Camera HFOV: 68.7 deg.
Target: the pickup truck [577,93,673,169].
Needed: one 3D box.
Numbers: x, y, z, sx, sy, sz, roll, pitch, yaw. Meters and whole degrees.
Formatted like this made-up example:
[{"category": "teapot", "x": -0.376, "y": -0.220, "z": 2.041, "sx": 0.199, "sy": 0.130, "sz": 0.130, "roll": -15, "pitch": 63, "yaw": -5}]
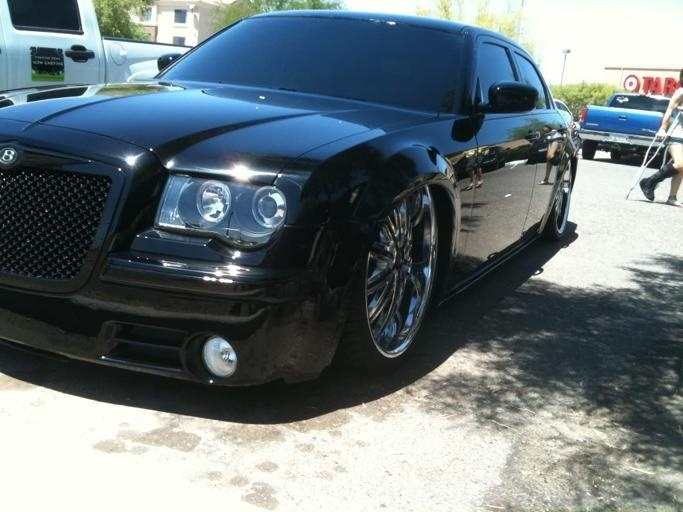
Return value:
[{"category": "pickup truck", "x": 10.305, "y": -4.073, "z": 18.616, "sx": 2.439, "sy": 2.210, "sz": 5.209, "roll": 13, "pitch": 5, "yaw": 27}]
